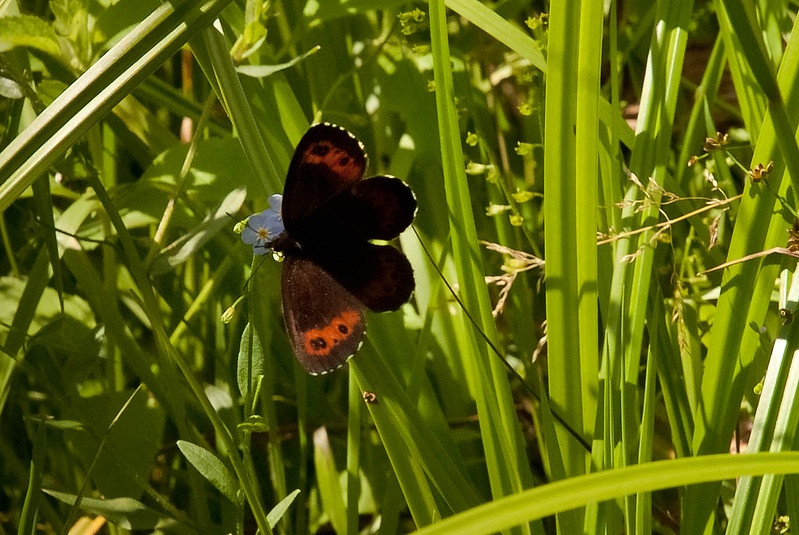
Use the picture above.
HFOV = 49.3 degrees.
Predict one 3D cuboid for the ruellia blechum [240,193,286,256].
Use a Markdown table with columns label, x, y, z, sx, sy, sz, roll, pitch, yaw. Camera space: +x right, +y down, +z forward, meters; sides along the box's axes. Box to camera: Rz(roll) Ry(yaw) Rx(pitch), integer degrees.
| label | x | y | z | sx | sy | sz | roll | pitch | yaw |
| --- | --- | --- | --- | --- | --- | --- | --- | --- | --- |
| ruellia blechum | -0.314 | -0.090 | 1.982 | 0.109 | 0.127 | 0.056 | -18 | 36 | -17 |

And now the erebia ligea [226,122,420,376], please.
| label | x | y | z | sx | sy | sz | roll | pitch | yaw |
| --- | --- | --- | --- | --- | --- | --- | --- | --- | --- |
| erebia ligea | -0.167 | -0.032 | 2.011 | 0.328 | 0.444 | 0.302 | 5 | -5 | 34 |
